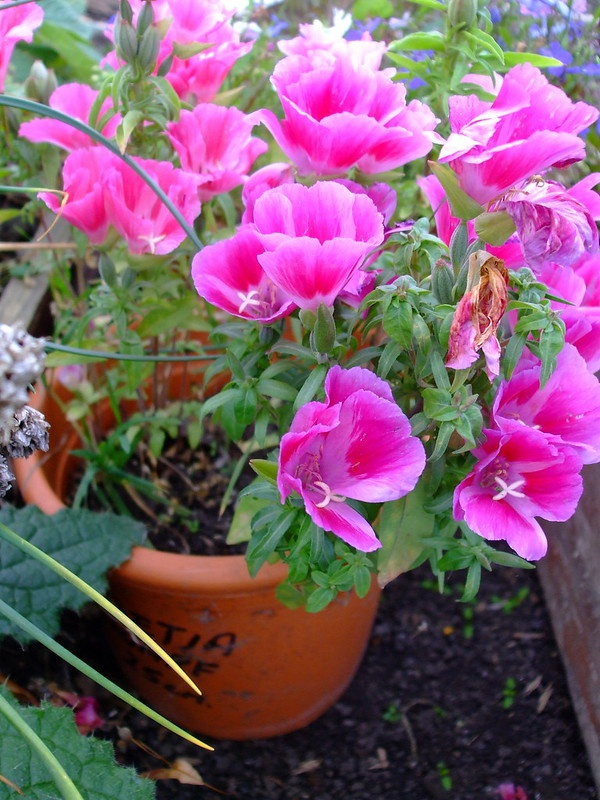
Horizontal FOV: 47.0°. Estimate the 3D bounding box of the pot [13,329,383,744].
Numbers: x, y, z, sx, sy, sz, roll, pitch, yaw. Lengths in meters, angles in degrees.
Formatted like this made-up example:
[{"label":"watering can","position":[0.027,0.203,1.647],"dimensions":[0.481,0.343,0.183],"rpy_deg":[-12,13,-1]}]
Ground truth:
[{"label":"pot","position":[-0.127,0.254,1.249],"dimensions":[0.612,0.445,0.590],"rpy_deg":[1,34,-1]}]
